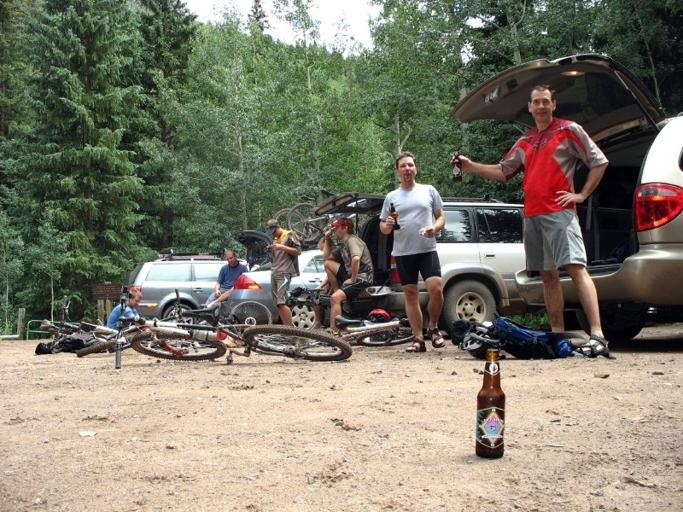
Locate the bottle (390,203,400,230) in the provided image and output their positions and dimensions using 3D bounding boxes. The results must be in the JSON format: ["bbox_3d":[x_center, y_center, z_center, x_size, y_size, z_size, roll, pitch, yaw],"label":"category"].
[{"bbox_3d":[0.604,-0.440,7.629,0.100,0.296,0.323,-3,5,4],"label":"bottle"}]

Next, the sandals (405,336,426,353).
[{"bbox_3d":[0.910,1.063,7.974,0.114,0.119,0.311,-8,-15,32],"label":"sandals"}]

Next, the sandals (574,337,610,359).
[{"bbox_3d":[2.443,0.887,6.572,0.300,0.127,0.186,0,1,-41],"label":"sandals"}]

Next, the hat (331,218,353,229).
[{"bbox_3d":[0.006,-0.455,9.560,0.215,0.087,0.161,-2,4,13],"label":"hat"}]

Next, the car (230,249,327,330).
[{"bbox_3d":[-1.032,0.543,11.679,1.089,0.828,1.871,-3,1,31],"label":"car"}]

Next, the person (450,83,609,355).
[{"bbox_3d":[2.035,-0.398,6.814,1.191,2.698,0.996,-4,6,-8],"label":"person"}]

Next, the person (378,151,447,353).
[{"bbox_3d":[0.810,-0.028,7.702,0.713,2.306,0.861,-2,6,13],"label":"person"}]

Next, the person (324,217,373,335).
[{"bbox_3d":[0.109,0.292,9.280,0.867,1.604,0.779,9,-45,-2],"label":"person"}]

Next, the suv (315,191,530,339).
[{"bbox_3d":[1.386,0.063,9.700,2.990,1.229,1.636,-7,0,-26],"label":"suv"}]

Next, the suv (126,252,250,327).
[{"bbox_3d":[-3.341,0.608,13.821,2.686,0.983,1.197,-7,0,-20],"label":"suv"}]

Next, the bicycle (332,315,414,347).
[{"bbox_3d":[0.411,0.974,8.484,0.782,0.366,0.454,4,-1,-24],"label":"bicycle"}]

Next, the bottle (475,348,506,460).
[{"bbox_3d":[0.874,0.859,4.017,0.172,0.667,0.229,-2,6,10],"label":"bottle"}]

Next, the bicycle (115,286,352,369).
[{"bbox_3d":[-1.145,0.658,7.693,1.962,0.860,1.112,-1,0,22],"label":"bicycle"}]
